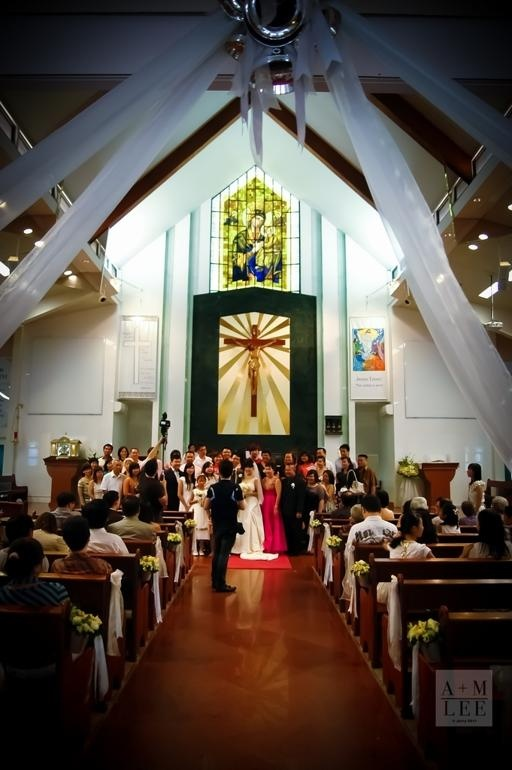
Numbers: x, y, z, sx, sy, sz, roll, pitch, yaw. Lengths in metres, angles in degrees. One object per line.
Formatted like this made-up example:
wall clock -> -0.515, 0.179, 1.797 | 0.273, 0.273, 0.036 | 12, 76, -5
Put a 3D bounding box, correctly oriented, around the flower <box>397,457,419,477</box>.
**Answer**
flower -> 3.628, 1.981, 12.065 | 0.389, 0.475, 0.414 | 1, -1, 5
